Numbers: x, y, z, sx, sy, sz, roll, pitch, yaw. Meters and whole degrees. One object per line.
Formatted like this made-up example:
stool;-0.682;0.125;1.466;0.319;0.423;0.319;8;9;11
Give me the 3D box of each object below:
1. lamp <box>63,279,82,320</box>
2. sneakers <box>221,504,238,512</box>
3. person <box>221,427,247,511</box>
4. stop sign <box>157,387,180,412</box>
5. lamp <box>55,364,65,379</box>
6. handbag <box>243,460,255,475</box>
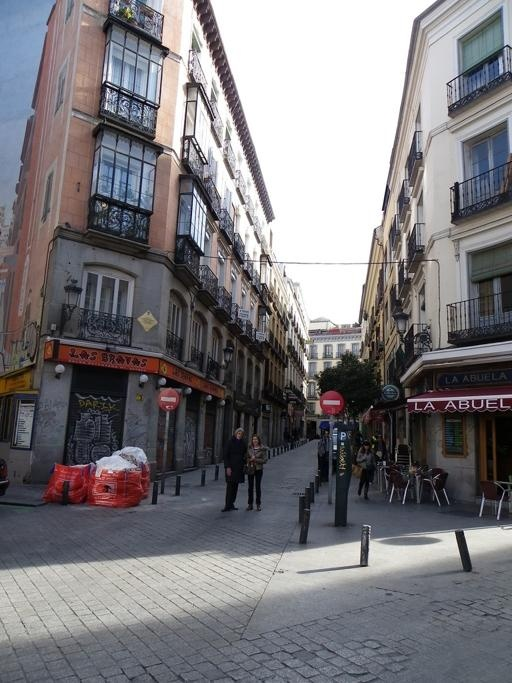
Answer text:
lamp;-5.964;-1.372;15.065;0.506;1.380;0.669;5;-10;-25
sneakers;-0.594;3.872;10.791;0.240;0.112;0.564;-7;-15;39
person;-0.509;3.098;11.372;0.562;1.858;1.426;1;-9;-2
stop sign;-2.595;1.704;13.773;0.540;0.633;0.584;4;-10;-13
lamp;-6.131;0.937;14.535;0.333;0.454;0.343;6;-10;-25
handbag;-0.166;3.022;11.206;0.298;0.538;0.193;0;-8;-4
